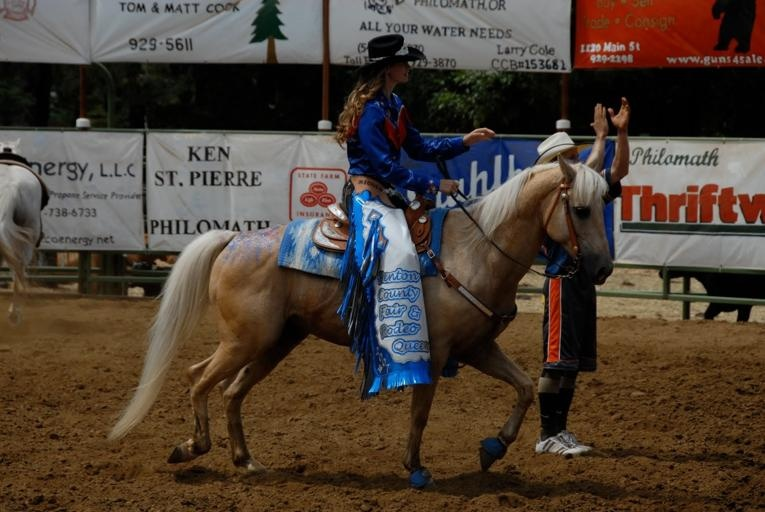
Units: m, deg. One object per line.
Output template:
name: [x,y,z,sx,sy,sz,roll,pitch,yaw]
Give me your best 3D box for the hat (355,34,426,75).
hat: [0.007,-2.479,15.083,0.643,0.257,0.577,-6,33,-8]
